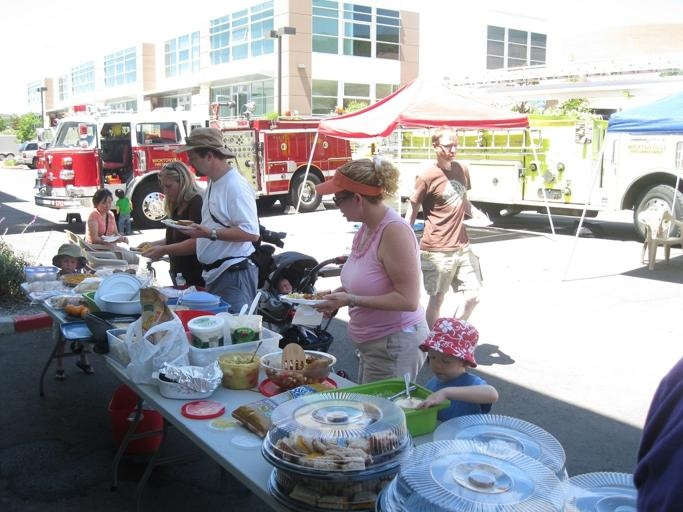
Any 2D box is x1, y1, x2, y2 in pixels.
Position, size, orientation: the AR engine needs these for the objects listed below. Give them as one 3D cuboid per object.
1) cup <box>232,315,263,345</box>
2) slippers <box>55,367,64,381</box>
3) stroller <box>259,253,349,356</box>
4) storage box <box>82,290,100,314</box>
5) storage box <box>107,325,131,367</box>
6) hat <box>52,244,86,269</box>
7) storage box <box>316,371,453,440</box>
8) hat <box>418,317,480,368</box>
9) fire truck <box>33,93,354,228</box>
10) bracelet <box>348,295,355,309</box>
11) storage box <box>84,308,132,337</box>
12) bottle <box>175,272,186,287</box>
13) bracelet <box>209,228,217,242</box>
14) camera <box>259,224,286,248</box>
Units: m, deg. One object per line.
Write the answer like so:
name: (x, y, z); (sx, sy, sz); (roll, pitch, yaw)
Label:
cup: (-0.590, 0.471, 3.484); (0.179, 0.172, 0.178); (1, -8, 0)
slippers: (-2.956, 1.252, 5.844); (0.118, 0.121, 0.118); (2, 5, -8)
stroller: (-0.380, 0.437, 5.614); (1.061, 0.973, 0.725); (11, 11, 40)
storage box: (-1.971, 0.358, 4.347); (0.140, 0.090, 0.201); (-8, 24, -44)
storage box: (-1.432, 0.587, 3.591); (0.242, 0.113, 0.159); (23, 28, 39)
hat: (-2.942, 0.006, 6.025); (0.280, 0.170, 0.327); (3, -15, -19)
storage box: (0.310, 0.722, 2.757); (0.305, 0.096, 0.332); (-6, 9, -35)
hat: (0.609, 0.441, 3.067); (0.289, 0.195, 0.365); (13, 1, 31)
fire truck: (-3.895, -3.155, 17.360); (10.175, 3.231, 3.266); (-11, 27, -42)
bracelet: (0.062, 0.293, 3.396); (0.023, 0.062, 0.047); (7, -4, -15)
storage box: (-1.675, 0.470, 3.929); (0.255, 0.089, 0.181); (4, 7, 41)
bottle: (-1.484, 0.220, 5.095); (0.082, 0.143, 0.087); (-3, 14, 1)
bracelet: (-1.076, -0.164, 4.627); (0.060, 0.087, 0.081); (-2, 13, -15)
camera: (-0.723, -0.208, 5.962); (0.371, 0.159, 0.155); (12, 8, -35)
